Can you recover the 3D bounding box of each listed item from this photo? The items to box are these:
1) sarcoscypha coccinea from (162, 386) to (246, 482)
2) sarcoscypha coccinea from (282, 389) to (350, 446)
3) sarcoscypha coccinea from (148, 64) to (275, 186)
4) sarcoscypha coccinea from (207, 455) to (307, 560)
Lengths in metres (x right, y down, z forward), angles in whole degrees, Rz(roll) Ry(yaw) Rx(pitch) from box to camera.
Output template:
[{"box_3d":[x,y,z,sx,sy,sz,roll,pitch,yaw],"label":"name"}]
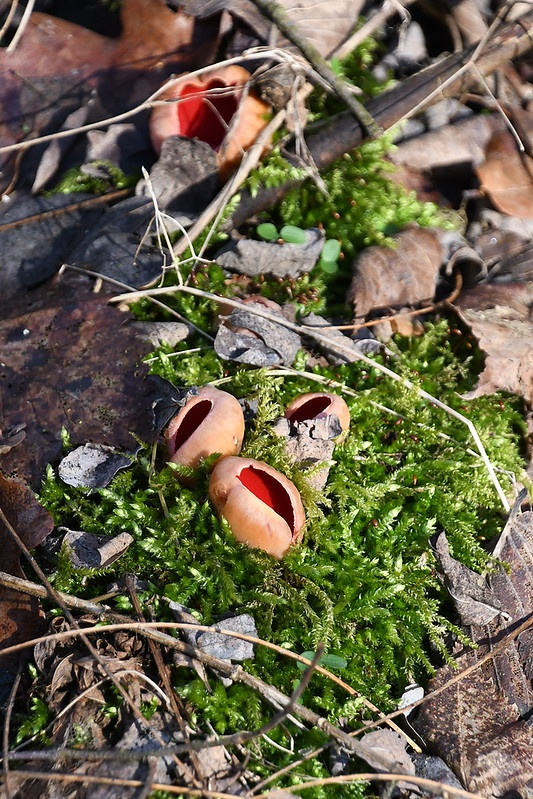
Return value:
[{"box_3d":[-0.219,0.136,2.617,0.182,0.282,0.301,13,69,-64],"label":"sarcoscypha coccinea"},{"box_3d":[0.192,0.073,2.792,0.200,0.226,0.144,-27,91,-32],"label":"sarcoscypha coccinea"},{"box_3d":[-0.239,-1.316,3.529,0.573,0.575,0.259,36,0,6],"label":"sarcoscypha coccinea"},{"box_3d":[-0.038,0.368,2.480,0.242,0.240,0.357,-20,56,-38],"label":"sarcoscypha coccinea"}]
